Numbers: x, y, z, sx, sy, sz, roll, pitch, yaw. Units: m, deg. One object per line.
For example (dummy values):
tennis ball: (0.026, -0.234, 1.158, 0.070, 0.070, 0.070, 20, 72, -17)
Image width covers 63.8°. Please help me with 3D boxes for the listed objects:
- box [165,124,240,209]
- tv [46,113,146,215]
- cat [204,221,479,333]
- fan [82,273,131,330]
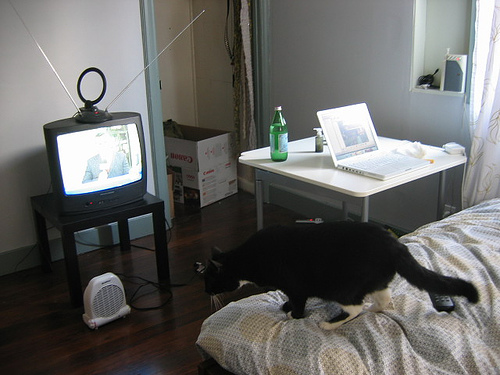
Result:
box: (-0.432, -0.291, 4.389, 0.941, 0.743, 1.203, 8, 15, 38)
tv: (-1.111, -0.231, 2.882, 0.648, 0.679, 0.369, -15, 26, -37)
cat: (0.311, 0.330, 1.548, 1.040, 0.434, 0.237, 0, 21, 21)
fan: (-0.929, 0.711, 2.565, 0.298, 0.332, 0.114, -17, 23, -28)
